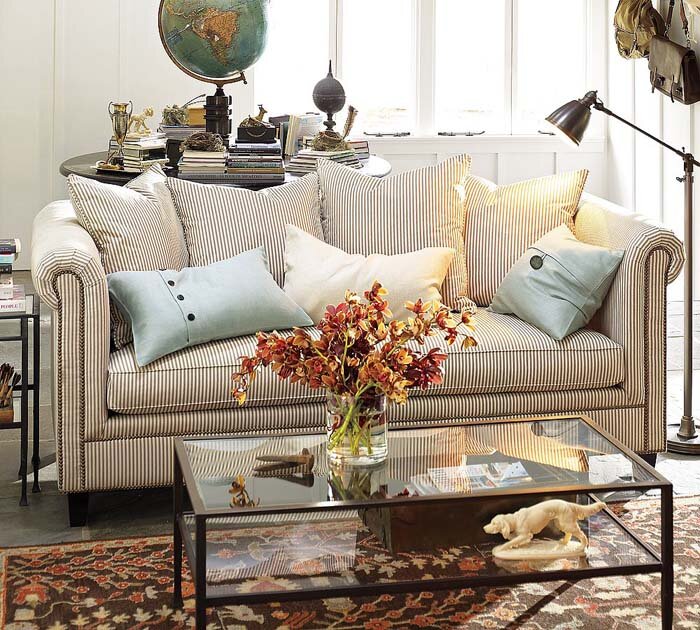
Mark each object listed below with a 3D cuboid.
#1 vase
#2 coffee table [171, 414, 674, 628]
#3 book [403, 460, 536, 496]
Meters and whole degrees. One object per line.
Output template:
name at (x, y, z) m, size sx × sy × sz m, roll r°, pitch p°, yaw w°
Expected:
vase at (0.025, 0.255, 1.568) m, size 0.180 × 0.171 × 0.165 m, roll 0°, pitch 10°, yaw 1°
coffee table at (0.160, 0.503, 1.537) m, size 1.089 × 0.437 × 0.488 m, roll -4°, pitch 5°, yaw -12°
book at (0.255, 0.357, 1.471) m, size 0.173 × 0.021 × 0.088 m, roll -2°, pitch 7°, yaw -13°
